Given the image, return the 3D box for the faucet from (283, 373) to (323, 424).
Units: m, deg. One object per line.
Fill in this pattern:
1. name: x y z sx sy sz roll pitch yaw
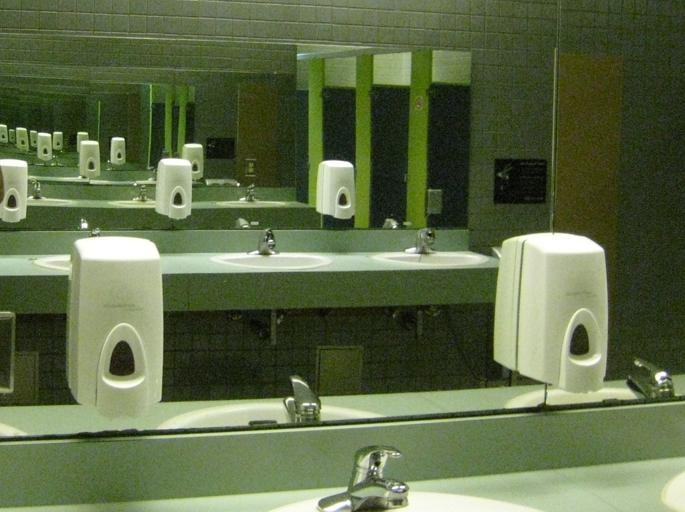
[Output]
1. faucet: -0.085 0.319 1.702 0.072 0.104 0.105 1 -7 -14

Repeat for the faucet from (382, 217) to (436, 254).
1. faucet: 0.144 -0.048 1.662 0.048 0.076 0.165 1 -4 -9
